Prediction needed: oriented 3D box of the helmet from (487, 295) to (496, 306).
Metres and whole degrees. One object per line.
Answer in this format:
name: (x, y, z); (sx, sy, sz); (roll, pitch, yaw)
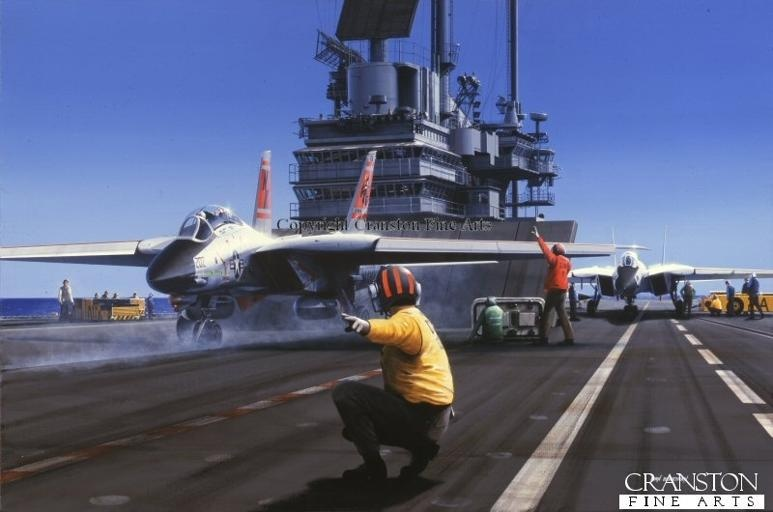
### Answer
helmet: (3.082, 1.325, 19.376); (0.390, 0.334, 0.217); (1, -3, -41)

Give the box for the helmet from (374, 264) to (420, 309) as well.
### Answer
helmet: (0.128, 0.392, 8.485); (0.522, 0.483, 0.568); (0, 5, -8)

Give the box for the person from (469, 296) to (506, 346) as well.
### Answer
person: (3.015, 1.880, 19.399); (0.852, 1.311, 0.592); (3, 4, 36)

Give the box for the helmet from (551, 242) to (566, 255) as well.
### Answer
helmet: (4.747, -0.173, 18.131); (0.296, 0.346, 0.355); (7, -7, 2)

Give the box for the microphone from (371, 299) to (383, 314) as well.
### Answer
microphone: (-0.107, 0.649, 8.422); (0.046, 0.158, 0.182); (-14, 1, -26)

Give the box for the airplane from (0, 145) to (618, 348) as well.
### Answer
airplane: (-3.807, -0.687, 21.642); (14.526, 6.180, 9.865); (-2, 4, -32)
